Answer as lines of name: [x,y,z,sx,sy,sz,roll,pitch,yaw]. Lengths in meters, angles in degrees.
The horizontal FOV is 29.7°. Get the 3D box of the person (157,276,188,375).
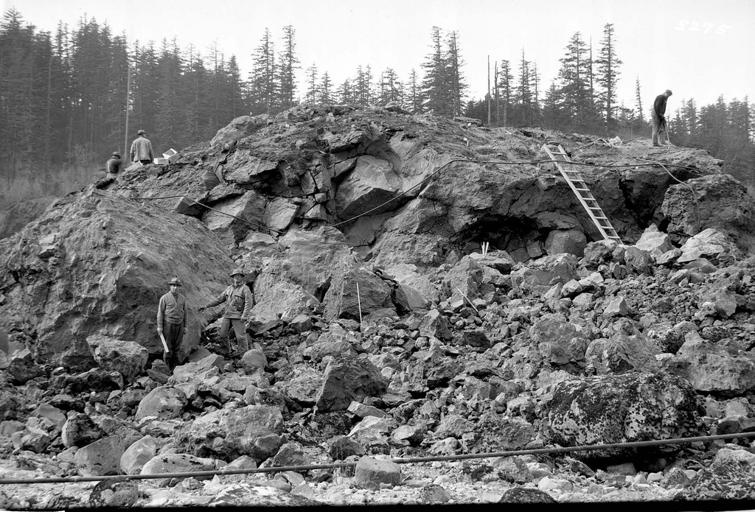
person: [-5.702,1.847,39.573,0.824,2.380,0.914,2,5,2]

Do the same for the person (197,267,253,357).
person: [-4.082,1.582,40.175,1.090,2.325,1.471,2,5,-14]
